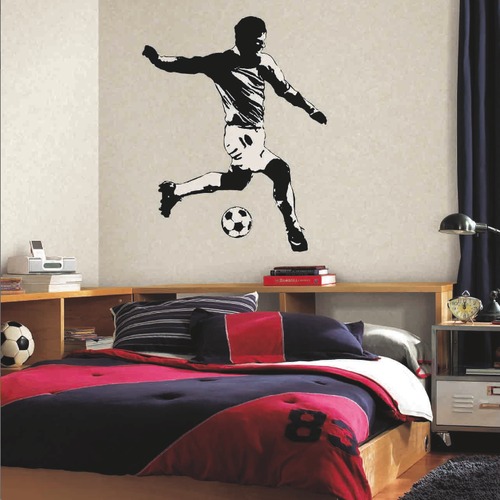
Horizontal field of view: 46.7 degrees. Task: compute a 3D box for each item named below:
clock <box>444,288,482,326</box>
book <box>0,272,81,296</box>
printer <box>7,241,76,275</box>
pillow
[{"bbox_3d":[0.954,0.257,2.609,0.135,0.133,0.136,1,-8,3],"label":"clock"},{"bbox_3d":[-1.050,0.163,2.757,0.238,0.094,0.484,-1,1,30],"label":"book"},{"bbox_3d":[-1.088,0.038,2.908,0.318,0.172,0.241,-2,1,27],"label":"printer"},{"bbox_3d":[-0.006,0.375,2.508,1.426,0.282,0.636,-2,1,15],"label":"pillow"}]
